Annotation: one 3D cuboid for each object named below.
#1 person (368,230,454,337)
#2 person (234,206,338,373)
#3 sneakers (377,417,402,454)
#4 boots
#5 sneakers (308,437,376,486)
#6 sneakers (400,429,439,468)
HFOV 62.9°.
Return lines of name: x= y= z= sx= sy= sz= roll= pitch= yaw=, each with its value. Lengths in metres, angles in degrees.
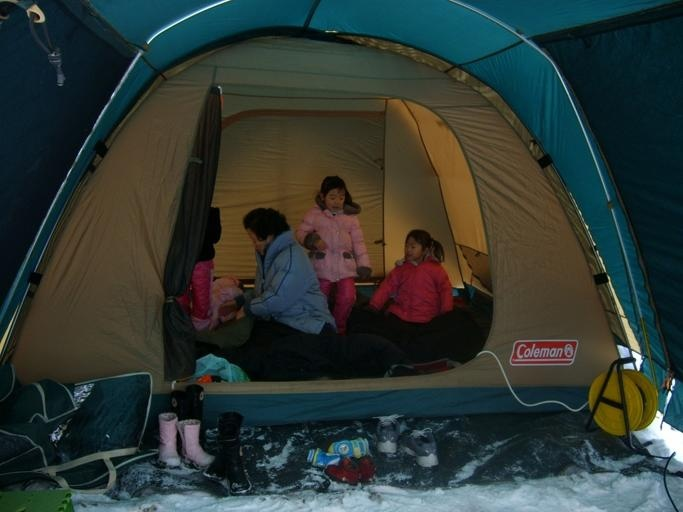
person: x=0.558 y=0.188 z=4.735 sx=0.685 sy=0.867 sz=0.499 roll=0 pitch=-14 yaw=1
person: x=-0.333 y=0.456 z=4.514 sx=1.008 sy=1.563 sz=0.837 roll=0 pitch=-16 yaw=-10
sneakers: x=0.275 y=1.066 z=3.317 sx=0.137 sy=0.200 sz=0.157 roll=1 pitch=-8 yaw=5
boots: x=-0.769 y=1.008 z=3.152 sx=0.250 sy=0.334 sz=0.761 roll=-3 pitch=7 yaw=-36
sneakers: x=0.000 y=1.135 z=3.110 sx=0.379 sy=0.188 sz=0.294 roll=2 pitch=-8 yaw=-3
sneakers: x=0.454 y=1.116 z=3.248 sx=0.223 sy=0.176 sz=0.221 roll=0 pitch=-8 yaw=11
